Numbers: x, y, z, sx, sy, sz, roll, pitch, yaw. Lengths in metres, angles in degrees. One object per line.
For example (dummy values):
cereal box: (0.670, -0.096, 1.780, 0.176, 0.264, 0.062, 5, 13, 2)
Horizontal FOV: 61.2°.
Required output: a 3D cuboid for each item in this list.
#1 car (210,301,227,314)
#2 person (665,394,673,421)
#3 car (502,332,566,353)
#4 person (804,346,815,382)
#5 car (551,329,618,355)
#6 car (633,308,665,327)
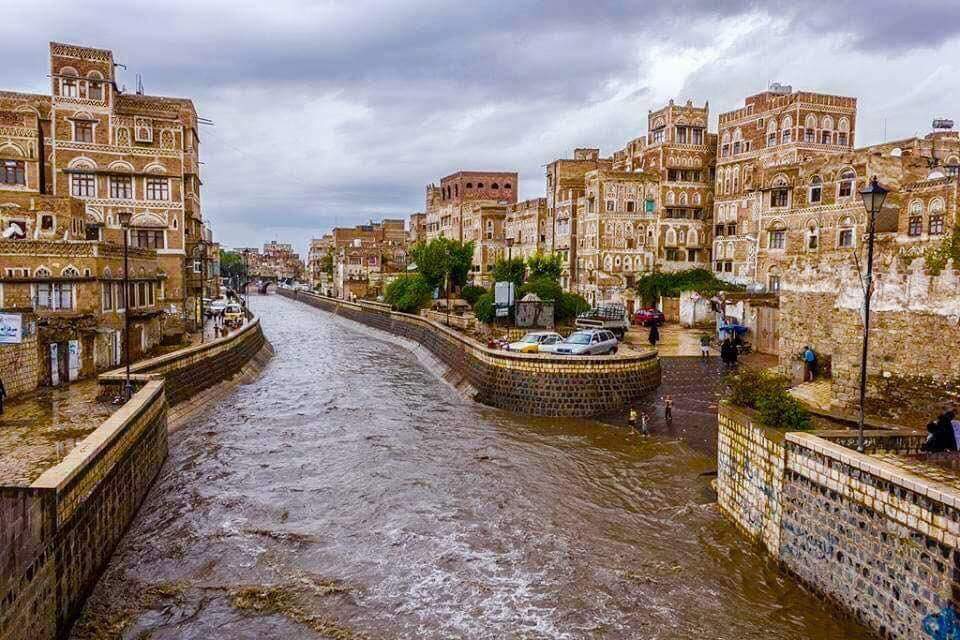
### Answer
car: (-30.615, -1.541, 94.952, 2.069, 1.819, 3.738, -1, -1, -21)
person: (9.738, 4.427, 41.436, 0.383, 1.169, 1.774, 1, 6, 13)
car: (3.528, 1.389, 49.045, 2.710, 0.888, 1.514, 0, 0, -35)
person: (16.735, 2.167, 40.992, 0.542, 1.656, 0.927, 2, 7, 23)
car: (6.290, 1.338, 47.226, 1.605, 1.165, 3.220, -2, -2, 45)
car: (14.166, -0.243, 67.642, 2.420, 1.293, 2.729, 1, 6, 10)
